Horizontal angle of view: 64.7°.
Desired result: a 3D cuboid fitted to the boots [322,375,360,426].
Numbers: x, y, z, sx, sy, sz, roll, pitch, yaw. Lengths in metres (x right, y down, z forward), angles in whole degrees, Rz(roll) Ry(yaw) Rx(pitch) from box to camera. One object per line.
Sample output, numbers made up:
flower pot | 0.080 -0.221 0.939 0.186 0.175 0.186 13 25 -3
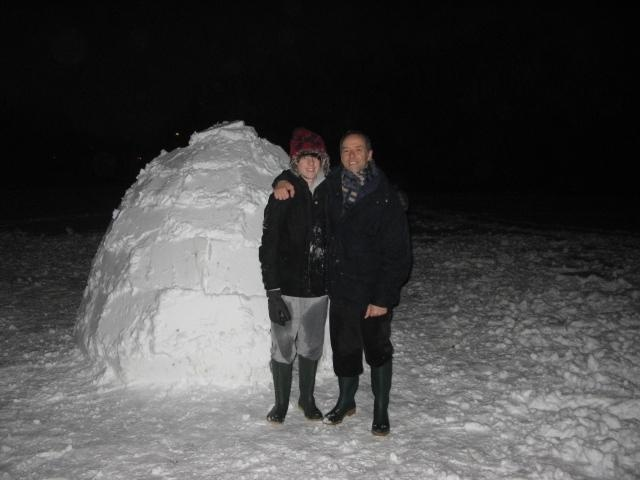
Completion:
boots | 0.183 1.389 4.484 0.415 0.388 0.175 -9 11 -43

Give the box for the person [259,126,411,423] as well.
person | 0.363 0.365 4.321 0.808 2.512 0.453 2 -2 0

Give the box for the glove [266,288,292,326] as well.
glove | -0.356 0.538 4.325 0.171 0.117 0.287 -32 32 7
